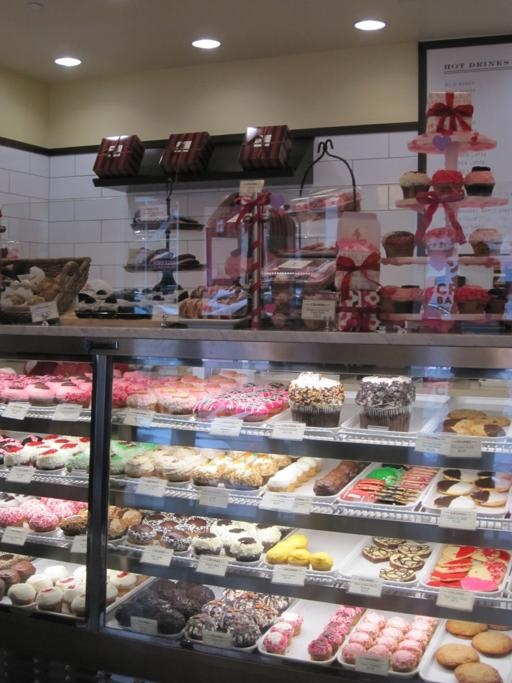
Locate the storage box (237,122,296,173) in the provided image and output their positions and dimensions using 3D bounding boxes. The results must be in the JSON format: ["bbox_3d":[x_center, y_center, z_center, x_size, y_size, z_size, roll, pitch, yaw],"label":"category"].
[{"bbox_3d":[0.059,-1.188,3.469,0.306,0.312,0.295,-3,13,8],"label":"storage box"}]

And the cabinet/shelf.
[{"bbox_3d":[0.037,0.462,1.671,1.392,0.704,0.451,4,8,25],"label":"cabinet/shelf"}]

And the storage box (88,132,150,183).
[{"bbox_3d":[-0.931,-1.245,3.788,0.313,0.287,0.209,-2,13,14],"label":"storage box"}]
